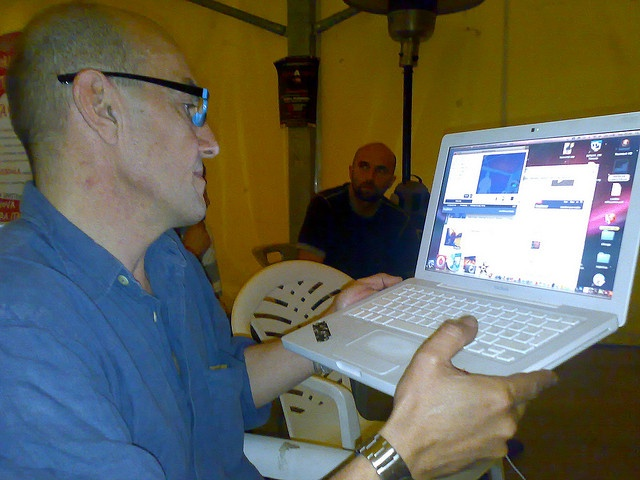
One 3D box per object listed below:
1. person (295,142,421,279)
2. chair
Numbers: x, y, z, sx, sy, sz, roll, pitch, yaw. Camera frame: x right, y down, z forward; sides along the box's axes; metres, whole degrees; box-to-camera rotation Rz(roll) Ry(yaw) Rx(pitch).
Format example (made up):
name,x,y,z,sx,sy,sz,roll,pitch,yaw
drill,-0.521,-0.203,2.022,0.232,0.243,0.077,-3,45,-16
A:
name,x,y,z,sx,sy,sz,roll,pitch,yaw
person,0.224,-0.151,2.865,0.526,0.766,0.439,11,-18,18
chair,0.084,0.296,1.805,0.612,0.877,0.614,-8,5,-43
